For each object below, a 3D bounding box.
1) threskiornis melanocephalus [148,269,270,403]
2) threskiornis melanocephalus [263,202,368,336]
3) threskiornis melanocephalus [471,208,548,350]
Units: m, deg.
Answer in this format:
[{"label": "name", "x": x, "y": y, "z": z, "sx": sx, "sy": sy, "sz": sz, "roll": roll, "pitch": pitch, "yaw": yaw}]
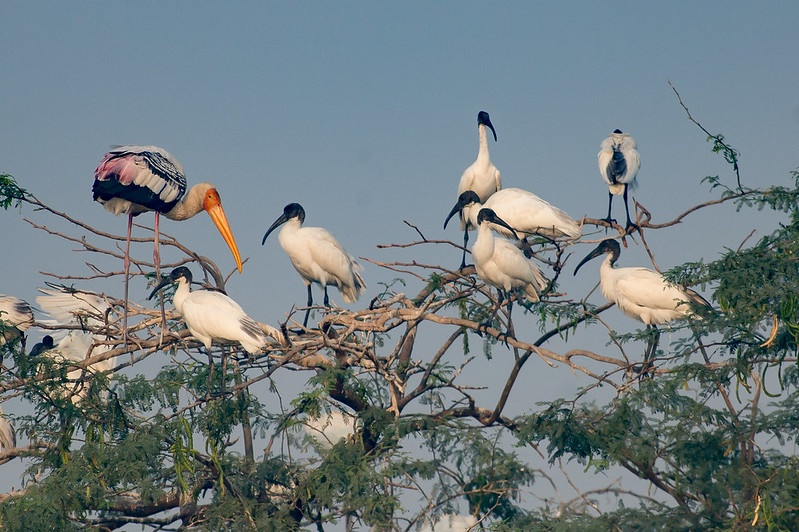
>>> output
[{"label": "threskiornis melanocephalus", "x": -3.051, "y": 1.088, "z": 18.851, "sx": 1.960, "sy": 2.055, "sz": 0.737, "roll": 1, "pitch": 8, "yaw": 8}, {"label": "threskiornis melanocephalus", "x": -1.552, "y": 0.003, "z": 21.615, "sx": 1.916, "sy": 2.465, "sz": 0.891, "roll": -5, "pitch": 1, "yaw": -33}, {"label": "threskiornis melanocephalus", "x": 1.829, "y": 0.002, "z": 19.882, "sx": 1.016, "sy": 2.677, "sz": 1.200, "roll": -23, "pitch": -27, "yaw": 20}]
